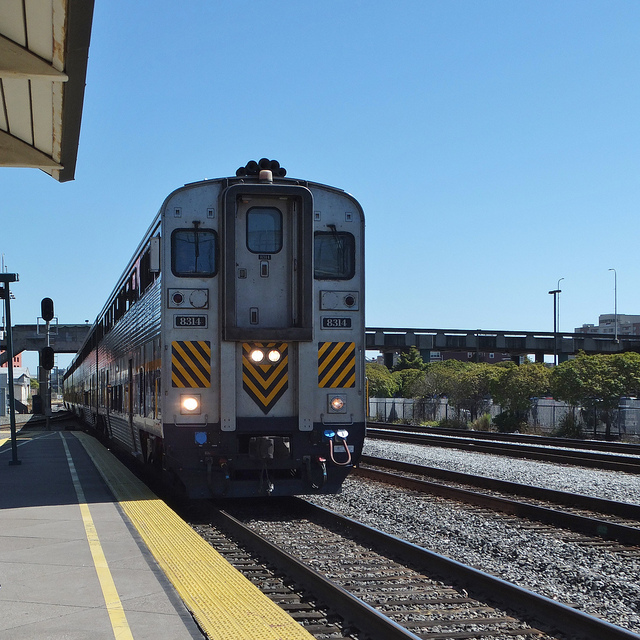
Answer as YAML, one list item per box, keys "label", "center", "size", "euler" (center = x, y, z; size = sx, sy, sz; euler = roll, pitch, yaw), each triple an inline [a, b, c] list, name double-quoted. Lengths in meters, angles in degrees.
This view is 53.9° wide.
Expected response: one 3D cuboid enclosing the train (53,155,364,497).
- label: "train"
  center: [-2.257, 0.488, 10.543]
  size: [2.459, 5.020, 6.264]
  euler: [2, -6, -36]
